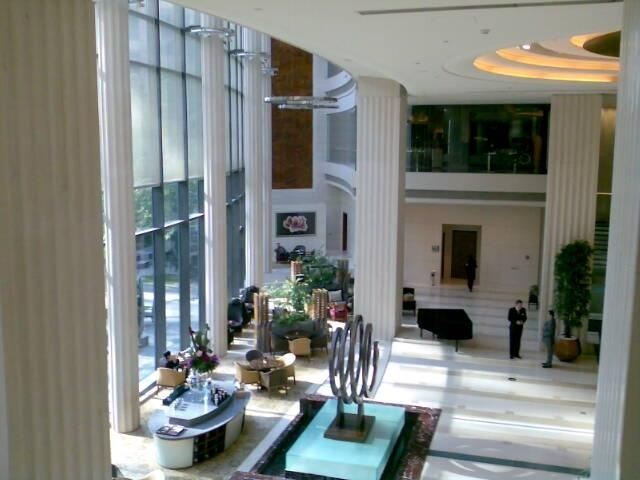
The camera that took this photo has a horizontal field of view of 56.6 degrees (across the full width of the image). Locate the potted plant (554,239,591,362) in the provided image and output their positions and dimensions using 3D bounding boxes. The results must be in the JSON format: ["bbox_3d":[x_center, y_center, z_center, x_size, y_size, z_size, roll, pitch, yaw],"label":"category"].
[{"bbox_3d":[6.017,1.498,14.182,0.818,2.795,0.918,5,6,23],"label":"potted plant"}]

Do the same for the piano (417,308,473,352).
[{"bbox_3d":[3.351,2.291,15.443,1.035,0.805,1.381,-5,11,-27],"label":"piano"}]
